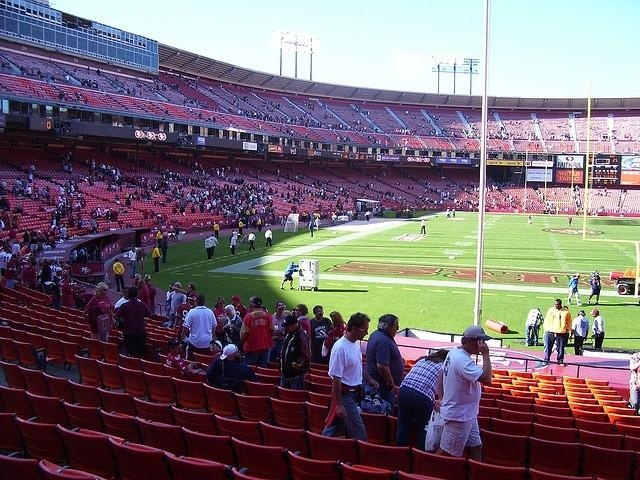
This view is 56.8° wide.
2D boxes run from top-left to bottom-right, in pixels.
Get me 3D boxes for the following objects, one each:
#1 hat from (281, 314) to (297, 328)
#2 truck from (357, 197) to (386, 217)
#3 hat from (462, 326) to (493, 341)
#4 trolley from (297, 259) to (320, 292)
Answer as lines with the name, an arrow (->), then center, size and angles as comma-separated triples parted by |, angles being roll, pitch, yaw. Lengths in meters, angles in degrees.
hat -> -0.551, 1.336, 9.912 | 0.201, 0.136, 0.260 | -20, 26, -29
truck -> 5.928, -4.127, 73.867 | 2.105, 2.317, 3.725 | 0, 3, 23
hat -> 2.213, 1.313, 8.373 | 0.320, 0.165, 0.202 | 7, 5, 2
trolley -> -0.497, 1.629, 27.831 | 1.128, 1.408, 1.072 | -1, 6, -8
